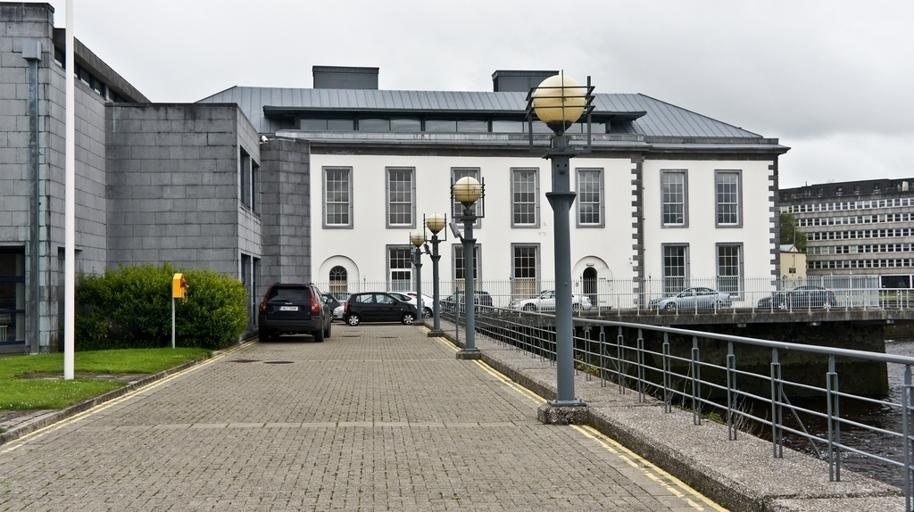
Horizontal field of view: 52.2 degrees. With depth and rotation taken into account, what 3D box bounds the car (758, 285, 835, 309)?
[{"bbox_3d":[17.096,1.967,46.986,3.109,0.906,1.386,1,-4,5],"label":"car"}]
